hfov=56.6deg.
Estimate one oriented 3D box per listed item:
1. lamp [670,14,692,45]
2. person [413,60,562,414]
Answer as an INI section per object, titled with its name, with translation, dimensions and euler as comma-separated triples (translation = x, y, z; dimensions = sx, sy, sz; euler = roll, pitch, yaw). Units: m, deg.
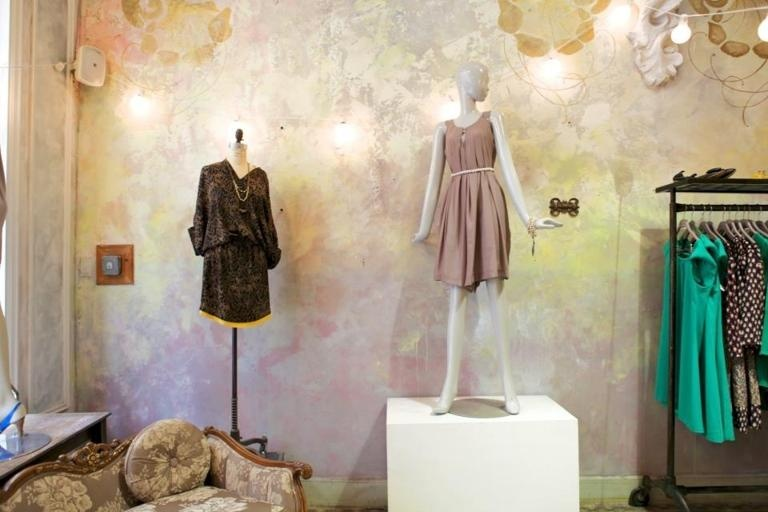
[lamp]
translation = 2.104, -1.605, 5.055
dimensions = 0.138, 0.254, 0.353
euler = -2, -4, 24
[person]
translation = 0.590, -0.107, 4.747
dimensions = 0.751, 2.309, 0.383
euler = -1, -3, 2
